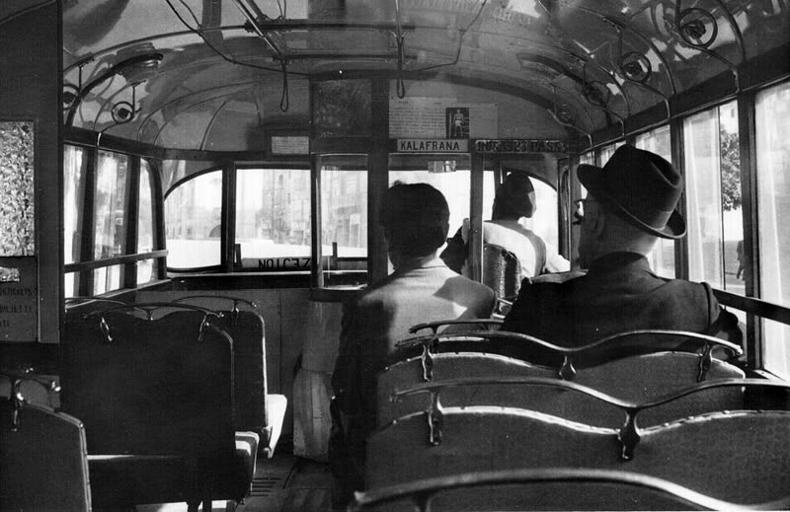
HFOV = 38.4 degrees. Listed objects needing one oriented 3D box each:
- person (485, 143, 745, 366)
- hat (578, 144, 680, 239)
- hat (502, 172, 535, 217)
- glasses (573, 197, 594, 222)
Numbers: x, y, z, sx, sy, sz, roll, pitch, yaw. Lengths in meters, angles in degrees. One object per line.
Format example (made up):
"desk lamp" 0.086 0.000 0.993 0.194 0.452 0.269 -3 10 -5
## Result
"person" 0.843 0.036 4.297 0.977 0.852 0.462 4 2 -11
"hat" 0.839 -0.225 4.164 0.320 0.140 0.367 26 19 -31
"hat" 0.435 -0.210 3.943 0.150 0.147 0.108 -3 1 -9
"glasses" 0.663 -0.158 4.064 0.122 0.084 0.039 -11 13 -41
